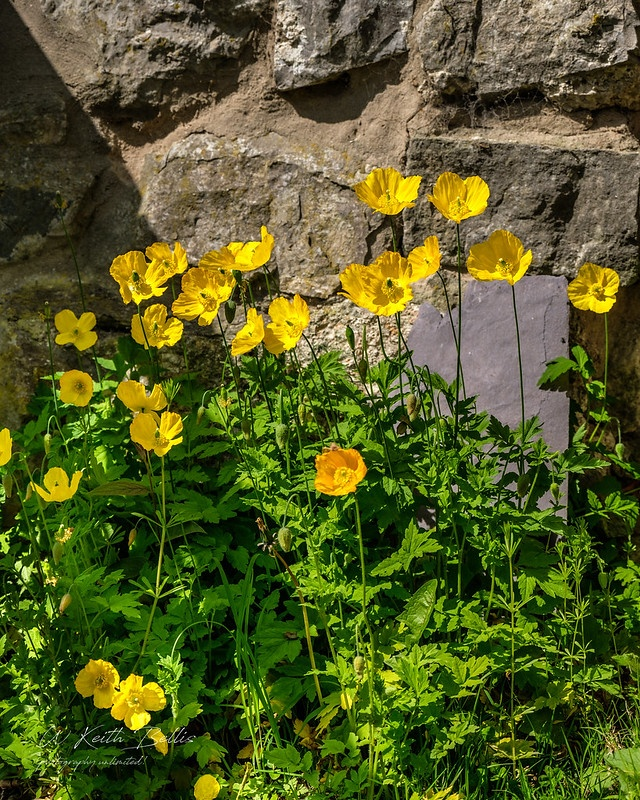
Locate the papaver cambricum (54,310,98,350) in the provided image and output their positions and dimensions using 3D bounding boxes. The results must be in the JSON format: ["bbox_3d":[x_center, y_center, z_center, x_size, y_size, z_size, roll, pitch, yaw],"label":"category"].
[{"bbox_3d":[-0.606,-0.176,2.355,0.094,0.098,0.057,0,-1,-16],"label":"papaver cambricum"}]

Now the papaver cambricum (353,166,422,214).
[{"bbox_3d":[0.160,-0.461,2.124,0.144,0.121,0.065,-19,-30,-6],"label":"papaver cambricum"}]

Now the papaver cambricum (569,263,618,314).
[{"bbox_3d":[0.652,-0.276,2.234,0.108,0.045,0.107,7,-29,6],"label":"papaver cambricum"}]

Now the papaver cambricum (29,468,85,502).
[{"bbox_3d":[-0.547,0.169,1.995,0.091,0.097,0.051,-19,-46,-4],"label":"papaver cambricum"}]

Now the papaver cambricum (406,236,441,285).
[{"bbox_3d":[0.230,-0.316,2.101,0.064,0.102,0.090,0,-1,5],"label":"papaver cambricum"}]

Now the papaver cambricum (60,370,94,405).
[{"bbox_3d":[-0.584,-0.029,2.280,0.067,0.087,0.160,0,0,-12],"label":"papaver cambricum"}]

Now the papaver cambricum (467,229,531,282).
[{"bbox_3d":[0.385,-0.311,2.042,0.133,0.123,0.055,0,-1,7],"label":"papaver cambricum"}]

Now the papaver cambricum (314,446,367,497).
[{"bbox_3d":[0.035,0.128,1.678,0.092,0.083,0.042,7,-5,15],"label":"papaver cambricum"}]

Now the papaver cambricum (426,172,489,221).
[{"bbox_3d":[0.302,-0.439,2.103,0.134,0.060,0.132,8,-27,8],"label":"papaver cambricum"}]
